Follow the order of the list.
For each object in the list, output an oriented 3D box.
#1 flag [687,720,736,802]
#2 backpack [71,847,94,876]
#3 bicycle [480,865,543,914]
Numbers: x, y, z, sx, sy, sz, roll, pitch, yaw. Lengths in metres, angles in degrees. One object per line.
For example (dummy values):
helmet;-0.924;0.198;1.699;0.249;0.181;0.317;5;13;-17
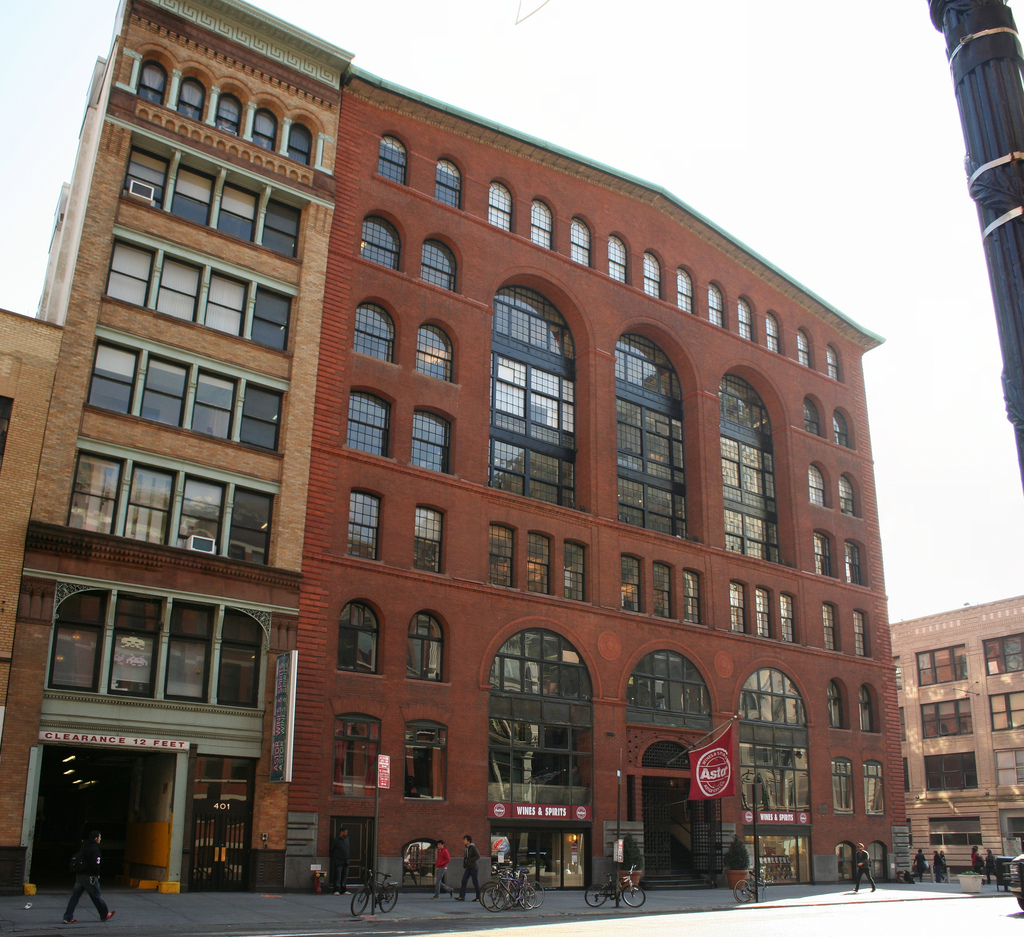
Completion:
flag;8.650;12.441;40.946;1.788;2.922;2.144;-9;-24;19
backpack;-9.363;8.560;21.003;0.474;0.564;0.356;1;-23;-5
bicycle;-0.012;12.620;28.888;1.103;1.125;2.163;-11;-25;23
